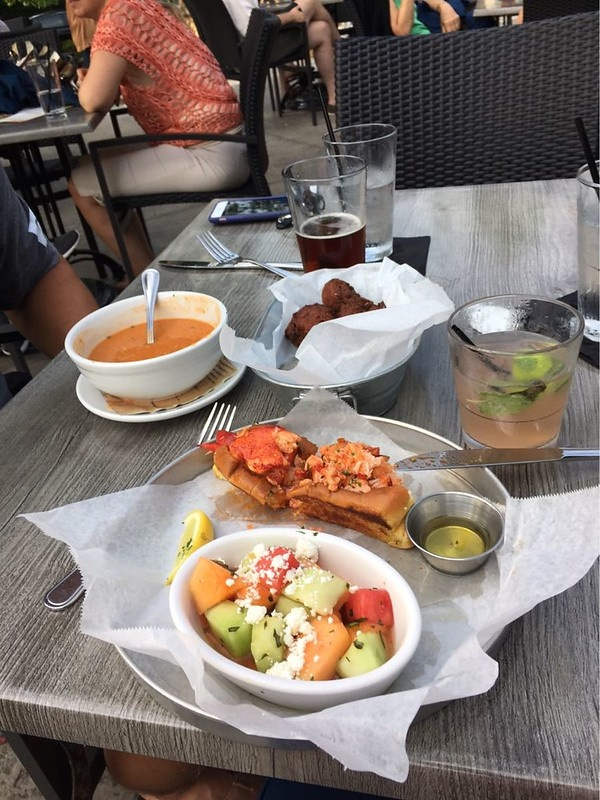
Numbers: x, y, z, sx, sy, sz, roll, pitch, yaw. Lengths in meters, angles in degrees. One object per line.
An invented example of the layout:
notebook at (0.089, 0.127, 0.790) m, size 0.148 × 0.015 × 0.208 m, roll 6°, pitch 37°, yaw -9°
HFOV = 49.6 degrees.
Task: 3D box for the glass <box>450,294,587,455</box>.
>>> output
glass at (0.253, -0.024, 0.778) m, size 0.150 × 0.158 × 0.150 m, roll -18°, pitch 33°, yaw -16°

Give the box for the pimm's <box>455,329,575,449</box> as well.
pimm's at (0.251, -0.009, 0.770) m, size 0.158 × 0.118 × 0.143 m, roll 6°, pitch 16°, yaw 26°

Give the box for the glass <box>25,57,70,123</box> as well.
glass at (-1.183, -1.472, 3.046) m, size 0.133 × 0.241 × 0.270 m, roll -20°, pitch 36°, yaw -10°

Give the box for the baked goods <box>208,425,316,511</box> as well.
baked goods at (-0.044, 0.083, 0.773) m, size 0.110 × 0.032 × 0.092 m, roll 22°, pitch 57°, yaw 29°

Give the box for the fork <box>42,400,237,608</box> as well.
fork at (-0.181, 0.121, 0.738) m, size 0.032 × 0.015 × 0.296 m, roll 25°, pitch 55°, yaw 26°

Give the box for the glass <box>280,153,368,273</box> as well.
glass at (0.056, -0.321, 1.194) m, size 0.143 × 0.198 × 0.131 m, roll -2°, pitch 28°, yaw 10°

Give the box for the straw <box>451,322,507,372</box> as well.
straw at (0.194, -0.060, 0.746) m, size 0.016 × 0.022 × 0.104 m, roll 10°, pitch 33°, yaw -41°

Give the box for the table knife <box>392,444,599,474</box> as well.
table knife at (0.211, 0.065, 0.708) m, size 0.219 × 0.018 × 0.028 m, roll 1°, pitch 44°, yaw 8°

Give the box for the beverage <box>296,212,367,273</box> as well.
beverage at (0.056, -0.275, 1.129) m, size 0.116 × 0.079 × 0.109 m, roll -7°, pitch 32°, yaw 3°

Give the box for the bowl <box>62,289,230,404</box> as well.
bowl at (-0.211, -0.054, 1.034) m, size 0.230 × 0.099 × 0.227 m, roll -3°, pitch 40°, yaw 3°

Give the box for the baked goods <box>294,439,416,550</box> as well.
baked goods at (0.074, 0.103, 0.717) m, size 0.135 × 0.048 × 0.085 m, roll 16°, pitch 53°, yaw 33°

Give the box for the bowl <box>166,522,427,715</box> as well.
bowl at (-0.005, 0.174, 0.568) m, size 0.228 × 0.069 × 0.178 m, roll 10°, pitch 39°, yaw 27°

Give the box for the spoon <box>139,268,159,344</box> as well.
spoon at (-0.257, -0.170, 1.114) m, size 0.028 × 0.024 × 0.177 m, roll -2°, pitch 53°, yaw -6°
